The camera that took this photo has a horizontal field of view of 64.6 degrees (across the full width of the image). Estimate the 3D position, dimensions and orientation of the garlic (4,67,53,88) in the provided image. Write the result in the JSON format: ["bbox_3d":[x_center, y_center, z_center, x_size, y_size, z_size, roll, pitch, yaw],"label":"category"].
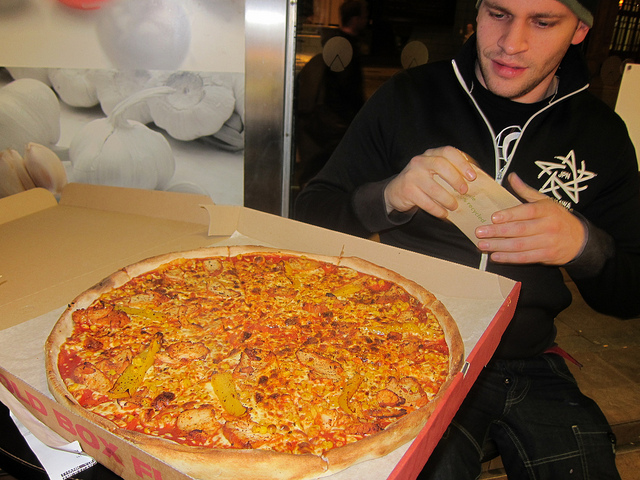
[{"bbox_3d":[-1.501,-0.861,2.627,0.226,0.089,0.034,9,38,3],"label":"garlic"}]

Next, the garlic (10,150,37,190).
[{"bbox_3d":[-1.648,-0.392,2.774,0.048,0.130,0.252,18,43,-3],"label":"garlic"}]
